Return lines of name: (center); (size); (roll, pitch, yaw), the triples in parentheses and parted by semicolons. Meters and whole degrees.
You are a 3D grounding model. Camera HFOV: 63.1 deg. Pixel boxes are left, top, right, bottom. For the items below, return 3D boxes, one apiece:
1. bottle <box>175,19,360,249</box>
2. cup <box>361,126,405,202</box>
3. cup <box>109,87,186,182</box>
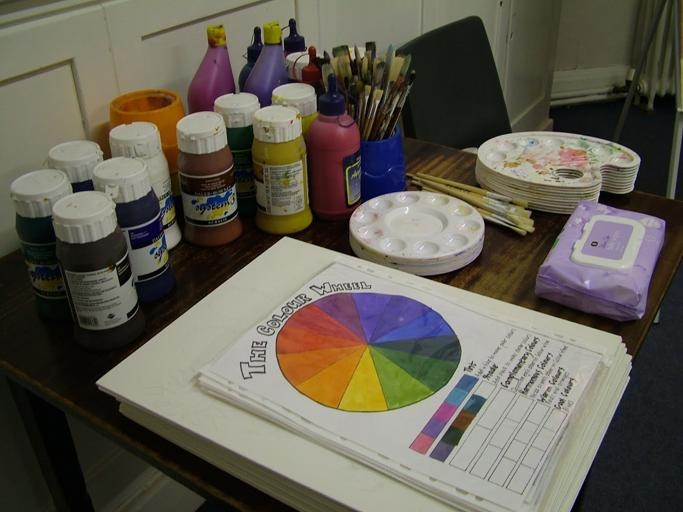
bottle: (-0.156, -0.256, 1.029); (0.396, 0.457, 0.230); (24, 36, 39)
cup: (0.085, -0.162, 1.005); (0.082, 0.111, 0.106); (0, 36, 8)
cup: (-0.328, -0.193, 0.993); (0.131, 0.150, 0.145); (10, 30, 12)
